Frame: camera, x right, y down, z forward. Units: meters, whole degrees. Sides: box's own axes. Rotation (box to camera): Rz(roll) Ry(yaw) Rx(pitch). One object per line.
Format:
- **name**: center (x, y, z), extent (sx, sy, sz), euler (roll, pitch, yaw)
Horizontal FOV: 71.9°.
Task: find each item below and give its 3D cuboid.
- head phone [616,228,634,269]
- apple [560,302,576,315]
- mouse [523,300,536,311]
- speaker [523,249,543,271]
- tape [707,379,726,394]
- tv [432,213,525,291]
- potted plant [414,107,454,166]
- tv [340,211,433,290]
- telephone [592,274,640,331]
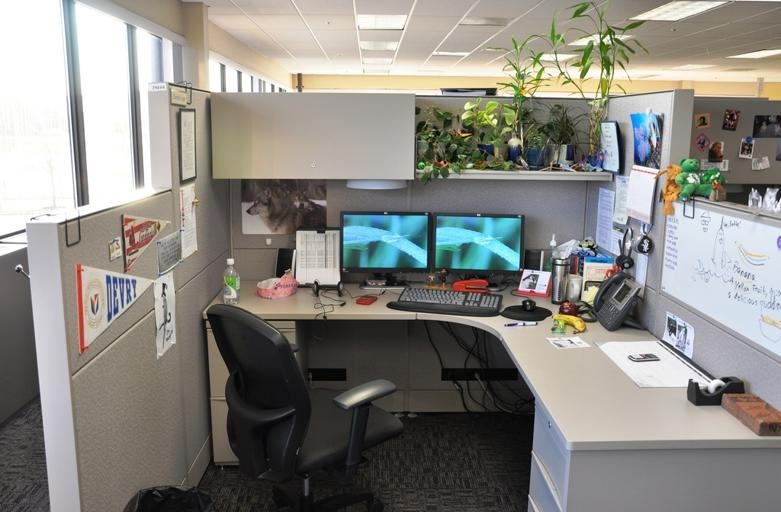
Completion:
- **head phone**: center (1.367, -0.044, 3.120), extent (0.062, 0.201, 0.156), euler (6, 0, -7)
- **apple**: center (1.036, 0.300, 3.148), extent (0.060, 0.036, 0.079), euler (0, 19, 5)
- **mouse**: center (0.814, 0.293, 3.159), extent (0.058, 0.074, 0.070), euler (-4, -23, 9)
- **speaker**: center (0.962, 0.025, 3.608), extent (0.142, 0.200, 0.110), euler (-2, 7, -2)
- **tape**: center (1.428, 0.568, 2.355), extent (0.063, 0.027, 0.062), euler (-26, 16, -20)
- **tv**: center (0.573, -0.044, 3.528), extent (0.516, 0.371, 0.138), euler (1, 1, 4)
- **potted plant**: center (0.286, -0.771, 3.460), extent (0.255, 0.375, 0.272), euler (2, 14, 2)
- **tv**: center (-0.029, -0.053, 3.546), extent (0.531, 0.395, 0.156), euler (0, 1, 1)
- **telephone**: center (1.283, 0.257, 3.048), extent (0.146, 0.284, 0.298), euler (8, 18, -5)
